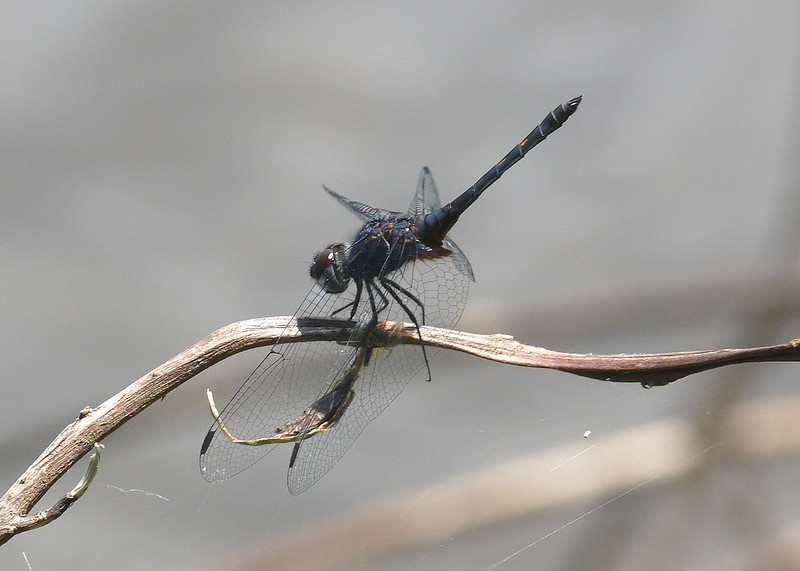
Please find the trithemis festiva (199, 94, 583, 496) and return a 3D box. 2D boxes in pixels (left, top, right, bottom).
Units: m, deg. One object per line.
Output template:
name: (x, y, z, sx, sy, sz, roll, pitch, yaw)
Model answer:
trithemis festiva: (0.173, -0.206, 4.829, 1.710, 2.844, 1.158, -13, -64, 18)
